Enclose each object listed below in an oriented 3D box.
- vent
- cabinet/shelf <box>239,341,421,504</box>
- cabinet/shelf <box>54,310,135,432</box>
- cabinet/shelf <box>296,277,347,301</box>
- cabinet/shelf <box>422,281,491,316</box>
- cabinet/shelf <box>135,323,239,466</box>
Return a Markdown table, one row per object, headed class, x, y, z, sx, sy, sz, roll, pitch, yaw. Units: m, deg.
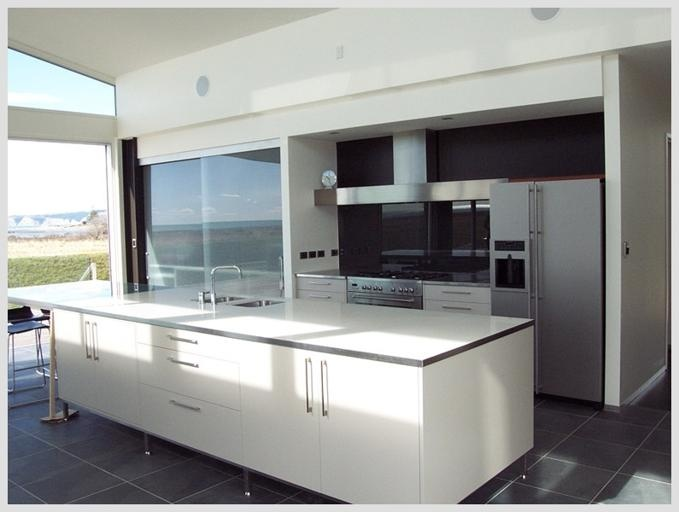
| class | x | y | z | sx | sy | sz | roll | pitch | yaw |
| --- | --- | --- | --- | --- | --- | --- | --- | --- | --- |
| vent | 0.838 | -0.977 | 5.679 | 2.316 | 0.896 | 0.598 | 1 | -6 | 32 |
| cabinet/shelf | -0.026 | 0.886 | 2.662 | 1.004 | 0.624 | 0.350 | -1 | -1 | 36 |
| cabinet/shelf | -1.966 | 0.908 | 3.972 | 1.016 | 0.853 | 0.393 | 0 | 1 | 36 |
| cabinet/shelf | -0.232 | 0.382 | 5.798 | 0.700 | 0.284 | 0.091 | 2 | 6 | 36 |
| cabinet/shelf | 1.191 | 0.316 | 4.904 | 0.506 | 0.479 | 0.294 | 0 | 0 | 33 |
| cabinet/shelf | -1.008 | 0.919 | 3.314 | 0.997 | 0.727 | 0.564 | 1 | 1 | 41 |
